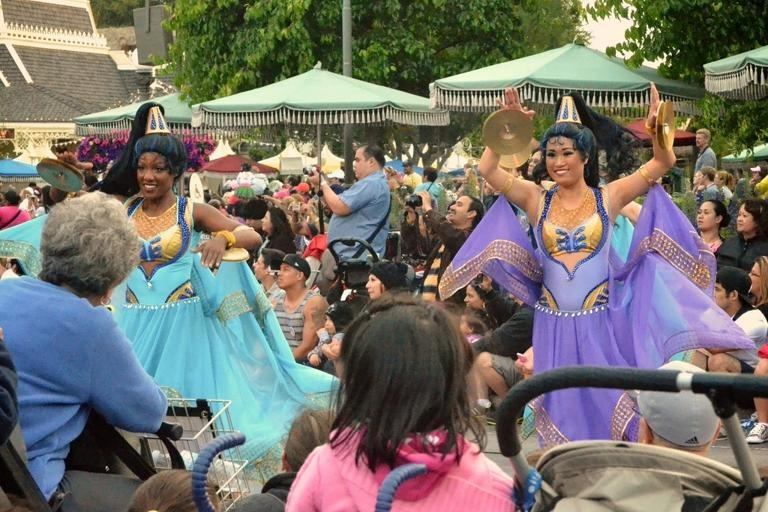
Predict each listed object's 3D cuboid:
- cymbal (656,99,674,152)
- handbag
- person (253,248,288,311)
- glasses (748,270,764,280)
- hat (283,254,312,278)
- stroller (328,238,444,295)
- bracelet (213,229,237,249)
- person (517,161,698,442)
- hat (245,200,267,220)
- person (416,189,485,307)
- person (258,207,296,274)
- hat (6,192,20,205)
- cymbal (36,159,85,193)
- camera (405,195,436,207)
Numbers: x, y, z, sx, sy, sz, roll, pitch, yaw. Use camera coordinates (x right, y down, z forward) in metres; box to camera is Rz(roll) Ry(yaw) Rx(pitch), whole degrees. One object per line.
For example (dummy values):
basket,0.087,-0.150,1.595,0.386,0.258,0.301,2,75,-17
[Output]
cymbal,1.938,-0.895,7.156,0.060,0.351,0.306,-3,-4,26
handbag,-0.260,-0.331,11.472,0.664,1.197,1.055,2,3,3
person,-1.185,0.145,10.314,0.437,0.798,0.805,0,-3,-5
glasses,3.276,0.155,9.124,0.067,0.080,0.077,-11,-12,-41
hat,-0.794,0.061,9.574,0.252,0.132,0.178,33,1,-8
stroller,-0.090,0.107,10.112,0.778,0.533,1.058,-2,5,-37
bracelet,-1.133,-0.127,7.396,0.069,0.119,0.132,-31,-9,-1
person,1.407,0.514,7.338,1.439,1.866,0.595,1,15,13
hat,-1.560,-0.579,12.701,0.196,0.218,0.280,3,-19,6
person,0.568,-0.078,9.542,0.579,0.977,0.537,13,3,35
person,-1.182,-0.178,11.326,0.417,0.771,0.754,4,-1,6
hat,-5.925,-0.900,16.483,0.197,0.262,0.261,-1,17,-15
cymbal,-2.409,-0.600,7.712,0.298,0.308,0.682,-5,12,-17
camera,0.374,-0.627,11.492,0.245,0.149,0.241,0,11,-11
